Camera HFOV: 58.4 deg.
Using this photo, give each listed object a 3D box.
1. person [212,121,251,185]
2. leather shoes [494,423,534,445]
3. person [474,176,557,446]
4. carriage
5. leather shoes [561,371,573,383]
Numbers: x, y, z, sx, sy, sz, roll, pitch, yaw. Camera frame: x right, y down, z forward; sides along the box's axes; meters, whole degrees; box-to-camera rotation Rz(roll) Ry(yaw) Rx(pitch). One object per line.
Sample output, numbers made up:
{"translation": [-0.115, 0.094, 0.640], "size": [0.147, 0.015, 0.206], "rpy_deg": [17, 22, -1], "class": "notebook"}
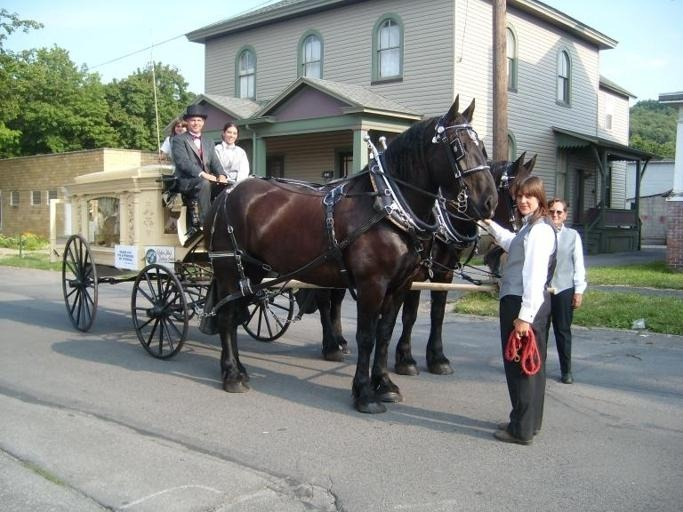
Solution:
{"translation": [-1.708, -1.563, 9.448], "size": [0.565, 0.943, 0.633], "rpy_deg": [7, 13, 12], "class": "person"}
{"translation": [1.624, 1.659, 5.790], "size": [0.336, 0.164, 0.159], "rpy_deg": [10, 8, 44], "class": "leather shoes"}
{"translation": [1.750, 0.485, 5.825], "size": [0.492, 2.469, 0.850], "rpy_deg": [2, 8, 17], "class": "person"}
{"translation": [-0.183, -0.023, 9.053], "size": [7.179, 4.679, 2.681], "rpy_deg": [2, 4, 37], "class": "carriage"}
{"translation": [2.726, 1.443, 7.347], "size": [0.166, 0.121, 0.140], "rpy_deg": [-1, 8, -6], "class": "leather shoes"}
